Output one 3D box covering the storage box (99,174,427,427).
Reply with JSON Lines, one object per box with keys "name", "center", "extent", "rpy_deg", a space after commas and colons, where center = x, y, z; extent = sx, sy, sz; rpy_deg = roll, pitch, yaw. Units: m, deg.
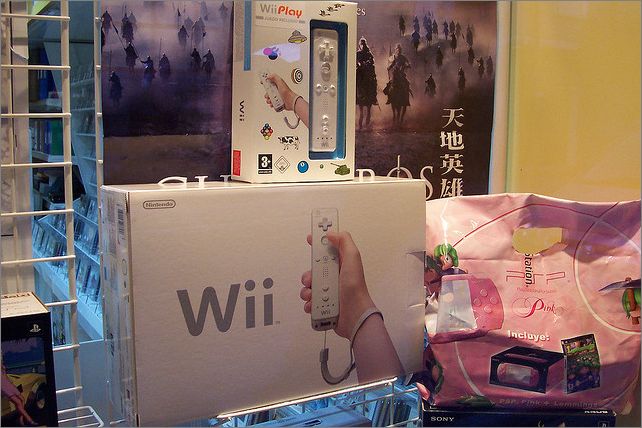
{"name": "storage box", "center": [-0.181, 0.239, 1.563], "extent": [0.786, 0.537, 0.232], "rpy_deg": [-3, 3, -28]}
